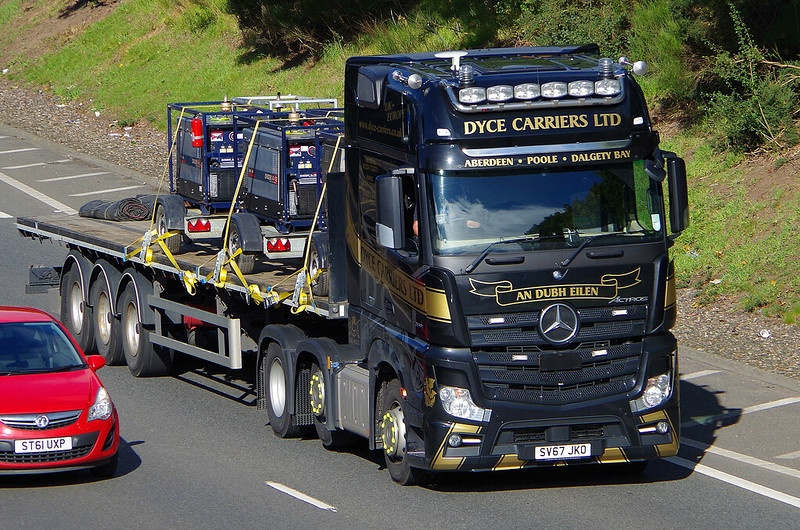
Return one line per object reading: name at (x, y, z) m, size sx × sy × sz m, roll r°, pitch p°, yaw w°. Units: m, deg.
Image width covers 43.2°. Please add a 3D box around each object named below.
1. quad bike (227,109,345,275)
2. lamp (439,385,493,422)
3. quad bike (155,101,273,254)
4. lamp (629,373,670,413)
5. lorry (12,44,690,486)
quad bike at (-1.946, -1.315, 17.001) m, size 2.006 × 2.870 × 4.248 m, roll 0°, pitch 0°, yaw -11°
lamp at (0.848, 1.724, 12.688) m, size 0.553 × 0.205 × 0.426 m, roll 6°, pitch 3°, yaw 2°
quad bike at (-3.372, -1.747, 18.914) m, size 2.262 × 2.298 × 2.939 m, roll -4°, pitch 16°, yaw -22°
lamp at (3.280, 1.675, 13.043) m, size 0.648 × 0.386 × 0.133 m, roll -11°, pitch 19°, yaw -28°
lorry at (-1.183, -0.145, 19.066) m, size 4.568 × 5.502 × 14.684 m, roll -3°, pitch 3°, yaw -29°
